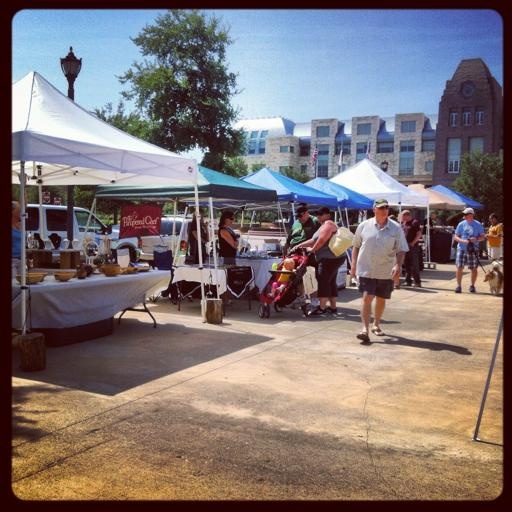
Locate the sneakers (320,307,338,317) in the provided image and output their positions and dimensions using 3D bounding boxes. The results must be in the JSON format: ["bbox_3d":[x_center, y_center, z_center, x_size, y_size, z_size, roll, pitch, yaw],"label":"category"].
[{"bbox_3d":[1.338,1.018,9.637,0.370,0.162,0.140,6,-5,-28],"label":"sneakers"}]

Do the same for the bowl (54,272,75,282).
[{"bbox_3d":[-2.416,0.249,6.592,0.221,0.126,0.239,2,2,0],"label":"bowl"}]

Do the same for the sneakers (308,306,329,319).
[{"bbox_3d":[1.119,1.015,9.480,0.357,0.164,0.162,6,-9,-39],"label":"sneakers"}]

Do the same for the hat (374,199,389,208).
[{"bbox_3d":[1.720,-0.722,7.210,0.180,0.133,0.223,2,2,13],"label":"hat"}]

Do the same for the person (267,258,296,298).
[{"bbox_3d":[0.403,0.368,9.248,0.423,0.732,0.738,1,2,-19],"label":"person"}]

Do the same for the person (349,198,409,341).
[{"bbox_3d":[1.737,0.204,7.412,0.755,1.991,0.668,2,2,11],"label":"person"}]

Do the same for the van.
[{"bbox_3d":[-4.993,-0.773,14.391,3.679,1.885,2.023,-2,4,-18],"label":"van"}]

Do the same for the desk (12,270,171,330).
[{"bbox_3d":[-2.177,0.587,7.088,0.436,0.660,2.321,3,3,26],"label":"desk"}]

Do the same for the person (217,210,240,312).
[{"bbox_3d":[-0.554,0.062,10.163,0.398,1.909,1.189,1,2,-4],"label":"person"}]

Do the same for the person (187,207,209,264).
[{"bbox_3d":[-1.157,-0.421,10.423,0.416,1.120,1.979,1,2,-8],"label":"person"}]

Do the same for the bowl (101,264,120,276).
[{"bbox_3d":[-2.018,0.191,7.321,0.182,0.099,0.186,2,5,0],"label":"bowl"}]

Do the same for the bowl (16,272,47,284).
[{"bbox_3d":[-2.699,0.256,6.227,0.217,0.083,0.222,-1,0,0],"label":"bowl"}]
